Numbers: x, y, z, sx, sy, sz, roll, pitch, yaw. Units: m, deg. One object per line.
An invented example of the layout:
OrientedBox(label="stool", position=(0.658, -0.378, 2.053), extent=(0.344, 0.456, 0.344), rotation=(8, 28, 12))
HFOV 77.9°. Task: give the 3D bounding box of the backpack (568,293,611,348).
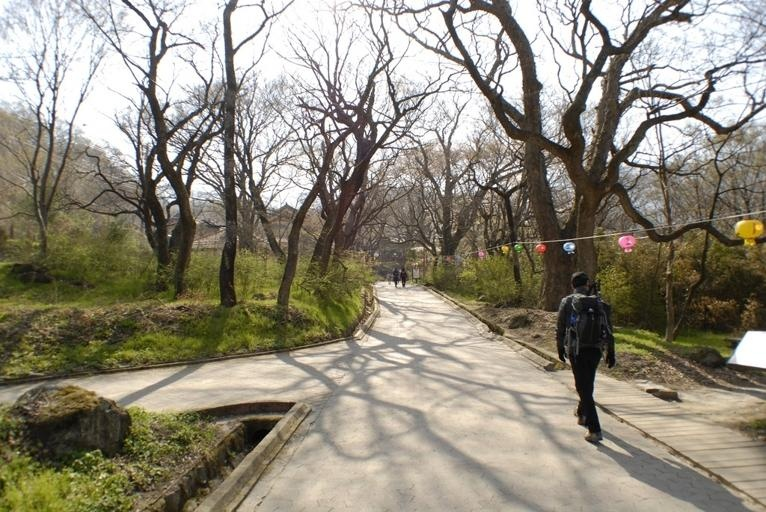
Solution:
OrientedBox(label="backpack", position=(4.057, 1.325, 9.231), extent=(0.746, 1.069, 0.302), rotation=(3, 0, 12))

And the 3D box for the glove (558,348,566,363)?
OrientedBox(label="glove", position=(3.572, 2.056, 9.445), extent=(0.088, 0.268, 0.263), rotation=(-6, -27, 12))

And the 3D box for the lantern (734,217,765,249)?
OrientedBox(label="lantern", position=(8.770, -0.549, 11.278), extent=(0.448, 0.622, 1.825), rotation=(3, -2, 41))
